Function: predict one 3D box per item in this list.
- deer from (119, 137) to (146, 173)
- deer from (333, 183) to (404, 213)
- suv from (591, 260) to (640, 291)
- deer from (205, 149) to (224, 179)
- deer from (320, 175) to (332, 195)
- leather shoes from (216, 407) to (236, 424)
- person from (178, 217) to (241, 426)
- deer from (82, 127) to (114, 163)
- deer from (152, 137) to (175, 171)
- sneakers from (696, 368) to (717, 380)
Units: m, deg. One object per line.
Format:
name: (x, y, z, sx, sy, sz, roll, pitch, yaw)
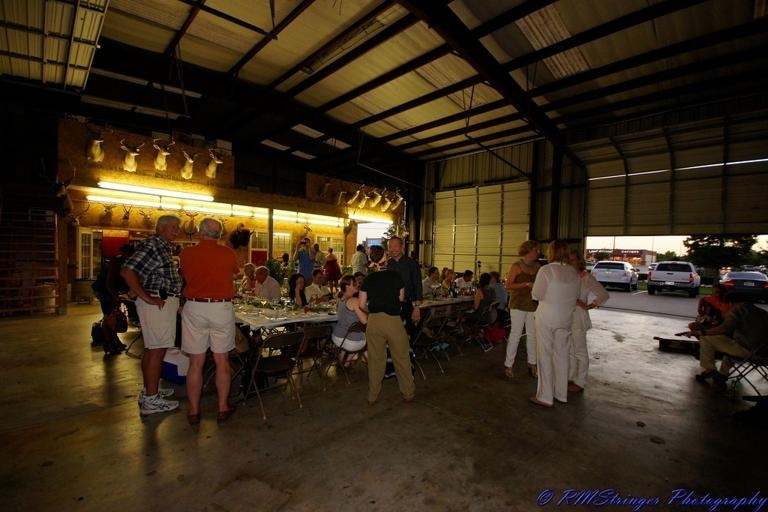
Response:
deer: (-6.534, -2.587, 11.657, 0.497, 0.826, 0.491, 1, 1, -31)
deer: (-0.484, -2.154, 17.030, 0.567, 0.900, 2.960, 2, 1, 44)
suv: (9.646, 0.844, 18.782, 1.275, 0.986, 2.799, 2, 6, 43)
deer: (-4.928, -2.669, 13.211, 0.383, 0.852, 0.566, 1, 1, 21)
deer: (-2.030, -2.445, 15.845, 0.219, 0.604, 0.160, 26, 7, -8)
leather shoes: (-2.510, 2.514, 7.158, 0.125, 0.138, 0.328, 3, 11, 13)
person: (-2.789, 1.012, 7.147, 0.839, 3.210, 0.344, 1, 1, -21)
deer: (-7.212, -2.791, 11.303, 0.418, 0.904, 0.483, 1, 1, -32)
deer: (-5.943, -2.730, 12.135, 0.515, 0.920, 0.637, 1, 1, -20)
sneakers: (6.067, 2.227, 8.512, 0.378, 0.149, 0.162, -10, -2, -1)
